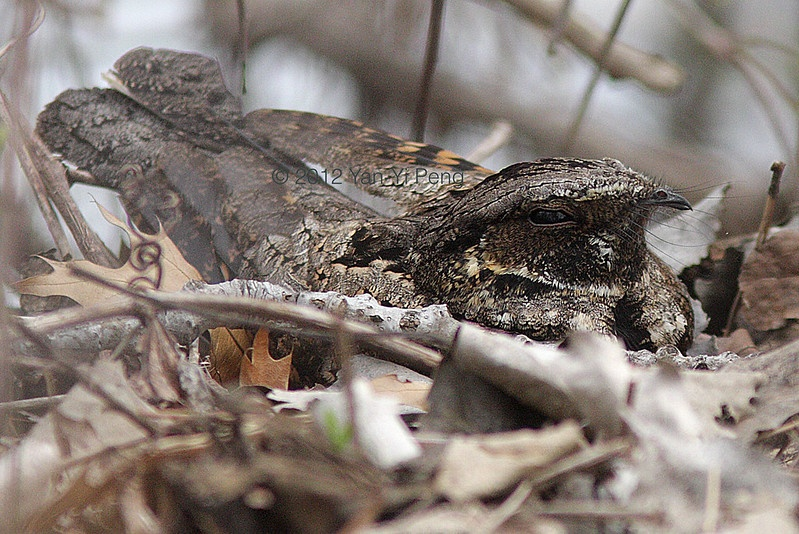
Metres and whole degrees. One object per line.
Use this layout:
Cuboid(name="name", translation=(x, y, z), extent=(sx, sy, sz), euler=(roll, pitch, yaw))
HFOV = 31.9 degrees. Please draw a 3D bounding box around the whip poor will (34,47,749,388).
Cuboid(name="whip poor will", translation=(-0.040, -0.069, 2.008), extent=(0.931, 0.435, 0.384), euler=(26, 20, 3))
